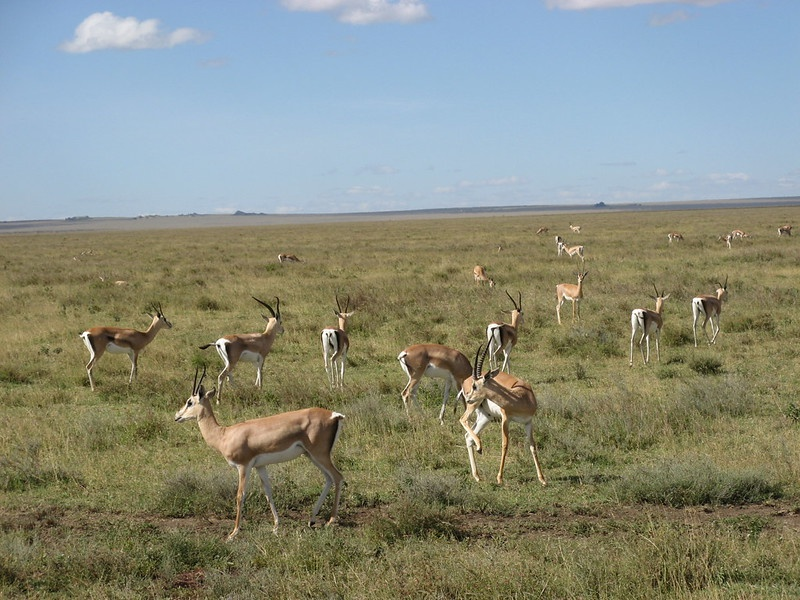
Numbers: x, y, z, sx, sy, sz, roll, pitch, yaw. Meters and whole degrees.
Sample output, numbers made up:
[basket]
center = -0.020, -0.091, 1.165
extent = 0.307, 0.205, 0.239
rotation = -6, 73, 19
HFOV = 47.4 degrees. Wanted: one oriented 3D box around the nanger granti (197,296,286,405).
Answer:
[nanger granti]
center = -3.840, 1.184, 22.486
extent = 0.751, 2.572, 2.595
rotation = 5, 7, 36
